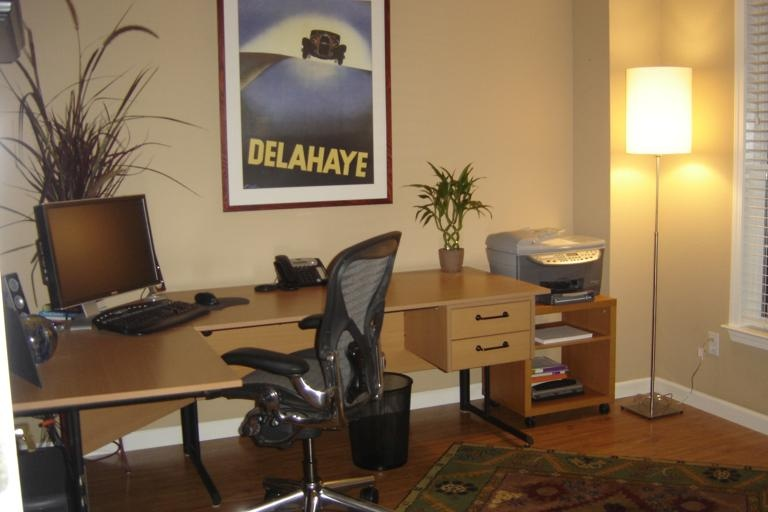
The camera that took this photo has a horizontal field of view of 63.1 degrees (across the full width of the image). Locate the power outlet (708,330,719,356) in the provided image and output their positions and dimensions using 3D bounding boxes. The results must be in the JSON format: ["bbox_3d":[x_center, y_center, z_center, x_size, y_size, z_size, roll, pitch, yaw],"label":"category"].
[{"bbox_3d":[2.291,0.609,4.357,0.027,0.169,0.087,-8,9,-24],"label":"power outlet"}]

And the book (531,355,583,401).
[{"bbox_3d":[1.188,0.865,4.415,0.299,0.104,0.294,-2,4,-33],"label":"book"}]

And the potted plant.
[{"bbox_3d":[0.479,-0.288,4.399,0.584,0.769,0.429,-4,8,0],"label":"potted plant"}]

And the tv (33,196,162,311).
[{"bbox_3d":[-1.496,-0.017,3.279,0.207,0.490,0.640,-2,8,39],"label":"tv"}]

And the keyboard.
[{"bbox_3d":[-1.218,0.310,3.280,0.404,0.103,0.460,-1,8,22],"label":"keyboard"}]

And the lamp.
[{"bbox_3d":[1.914,-0.113,4.421,0.414,2.415,0.693,2,11,37],"label":"lamp"}]
